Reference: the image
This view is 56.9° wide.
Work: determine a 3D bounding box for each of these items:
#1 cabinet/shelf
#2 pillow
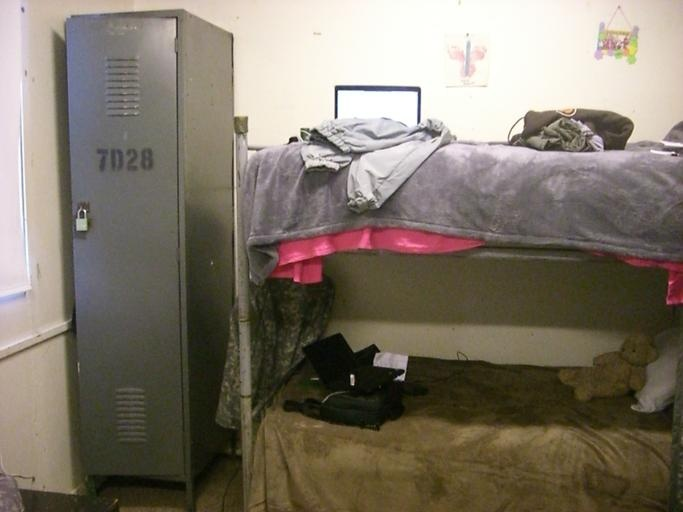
[{"bbox_3d":[-1.038,0.013,3.507,0.741,2.602,0.795,1,13,3],"label":"cabinet/shelf"},{"bbox_3d":[1.671,0.584,3.292,0.105,0.433,0.273,20,-13,-14],"label":"pillow"}]
